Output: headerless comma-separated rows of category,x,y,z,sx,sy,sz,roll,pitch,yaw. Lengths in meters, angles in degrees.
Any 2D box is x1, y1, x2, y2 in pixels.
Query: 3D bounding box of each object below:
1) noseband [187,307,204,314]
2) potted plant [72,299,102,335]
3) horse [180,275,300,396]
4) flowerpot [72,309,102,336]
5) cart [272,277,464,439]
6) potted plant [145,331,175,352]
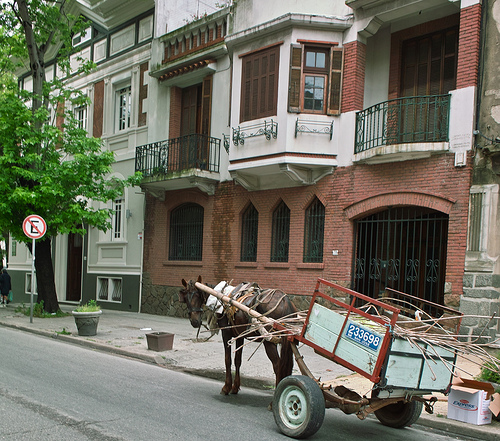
noseband,-1.001,1.637,11.807,0.265,0.105,0.131,3,-4,-3
potted plant,-4.453,2.617,17.469,0.730,0.953,0.790,0,0,27
horse,-0.209,2.100,11.599,2.696,1.992,0.743,-1,-5,40
flowerpot,-4.405,2.722,17.188,0.589,0.523,0.640,-1,-13,-3
cart,2.131,2.277,11.612,2.752,2.385,5.092,2,-4,13
potted plant,-2.168,2.870,15.258,0.391,0.321,0.459,13,-23,-39
